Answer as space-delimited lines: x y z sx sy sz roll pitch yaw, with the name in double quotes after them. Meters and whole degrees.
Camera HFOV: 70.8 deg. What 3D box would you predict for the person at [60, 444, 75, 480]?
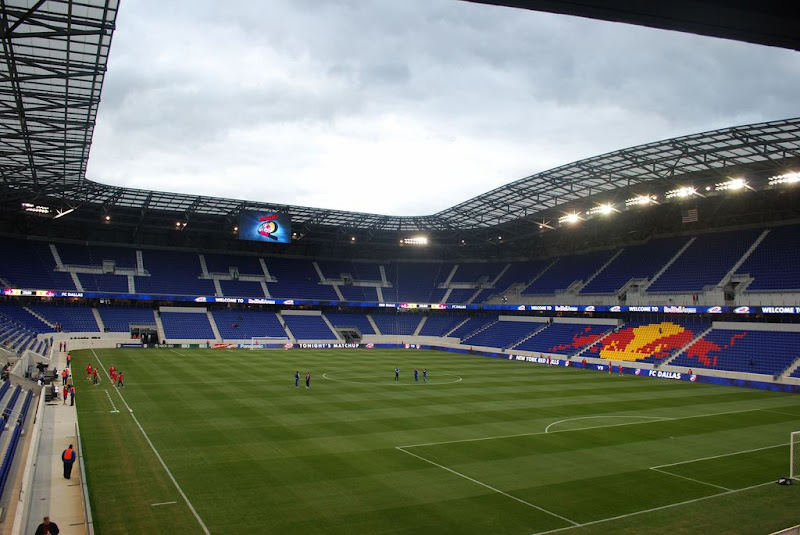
-14.749 8.688 25.204 0.414 1.468 1.223 6 -5 -26 "person"
